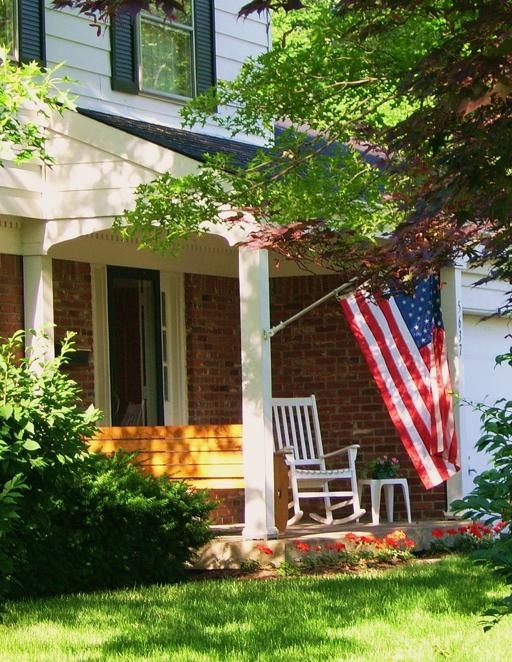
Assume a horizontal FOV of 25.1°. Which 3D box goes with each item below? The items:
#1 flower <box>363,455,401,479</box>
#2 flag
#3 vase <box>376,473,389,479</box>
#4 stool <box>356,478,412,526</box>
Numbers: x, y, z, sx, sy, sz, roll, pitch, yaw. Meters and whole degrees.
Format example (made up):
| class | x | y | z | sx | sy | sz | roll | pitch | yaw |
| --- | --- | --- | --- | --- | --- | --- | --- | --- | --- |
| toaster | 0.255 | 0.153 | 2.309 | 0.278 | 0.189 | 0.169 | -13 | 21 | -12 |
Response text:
| class | x | y | z | sx | sy | sz | roll | pitch | yaw |
| --- | --- | --- | --- | --- | --- | --- | --- | --- | --- |
| flower | 1.224 | 1.314 | 11.014 | 0.289 | 0.196 | 0.254 | 2 | -9 | -17 |
| flag | 1.356 | 0.423 | 10.246 | 1.009 | 1.923 | 0.455 | -2 | -7 | -19 |
| vase | 1.186 | 1.362 | 10.840 | 0.099 | 0.067 | 0.053 | 1 | -12 | 3 |
| stool | 1.278 | 1.539 | 10.675 | 0.443 | 0.323 | 0.446 | -10 | -10 | 42 |
